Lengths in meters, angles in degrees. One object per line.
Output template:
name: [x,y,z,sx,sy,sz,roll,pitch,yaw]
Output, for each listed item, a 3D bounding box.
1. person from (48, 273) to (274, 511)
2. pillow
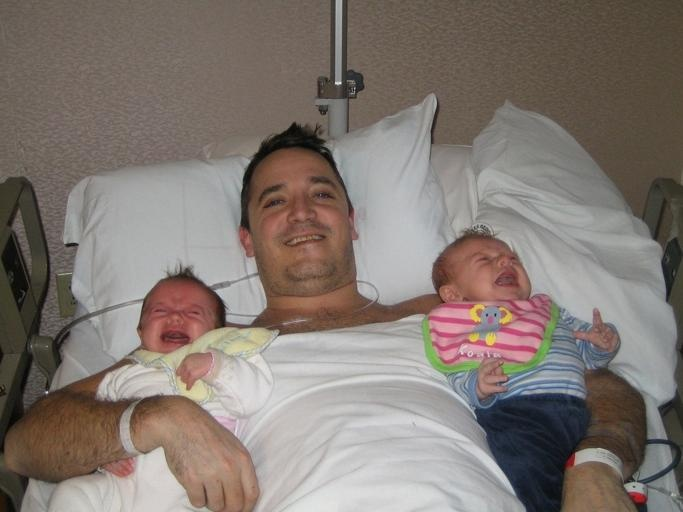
person: [-0.536,0.417,1.815,0.534,0.280,0.689,2,39,-9]
pillow: [0.111,0.024,2.752,1.874,1.242,0.688,-9,-18,1]
